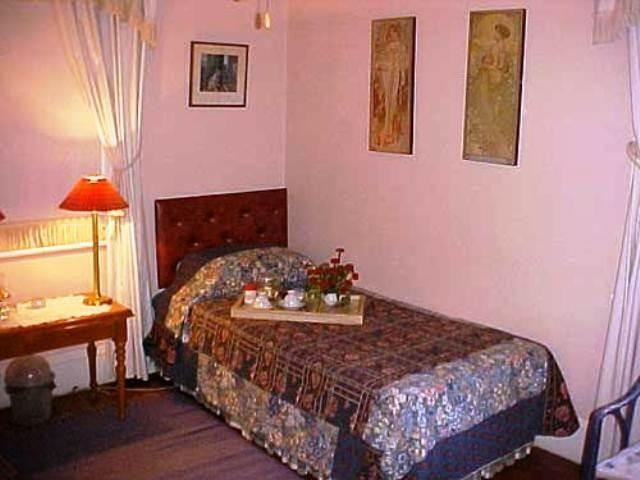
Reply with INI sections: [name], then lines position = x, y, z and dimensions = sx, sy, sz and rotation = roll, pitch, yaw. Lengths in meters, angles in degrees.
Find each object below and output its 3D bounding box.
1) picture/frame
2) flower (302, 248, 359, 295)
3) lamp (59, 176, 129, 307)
[picture/frame]
position = -0.950, -1.535, 4.623
dimensions = 0.597, 0.628, 0.026
rotation = -4, 14, -37
[flower]
position = 0.100, 0.276, 4.110
dimensions = 0.386, 0.469, 0.359
rotation = 1, -2, 43
[lamp]
position = -1.727, -0.034, 3.926
dimensions = 0.451, 0.946, 0.510
rotation = -4, 14, -24
